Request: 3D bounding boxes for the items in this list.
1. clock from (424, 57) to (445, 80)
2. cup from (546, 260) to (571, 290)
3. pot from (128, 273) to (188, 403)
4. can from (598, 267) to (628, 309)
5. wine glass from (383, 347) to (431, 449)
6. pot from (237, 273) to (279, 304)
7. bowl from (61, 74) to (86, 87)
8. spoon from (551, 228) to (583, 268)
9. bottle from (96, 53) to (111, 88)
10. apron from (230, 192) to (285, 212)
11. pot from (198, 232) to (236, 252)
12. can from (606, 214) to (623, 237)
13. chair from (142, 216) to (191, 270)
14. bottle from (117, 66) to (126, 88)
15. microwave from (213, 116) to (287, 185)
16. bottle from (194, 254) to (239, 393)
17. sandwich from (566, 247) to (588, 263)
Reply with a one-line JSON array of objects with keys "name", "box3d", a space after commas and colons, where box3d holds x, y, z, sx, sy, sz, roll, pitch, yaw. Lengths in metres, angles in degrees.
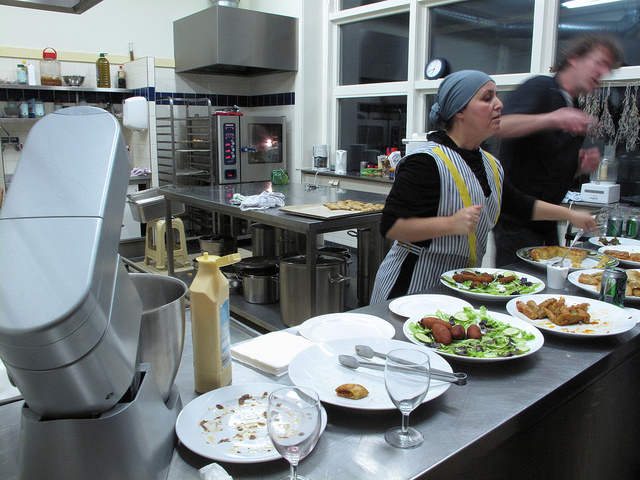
[{"name": "clock", "box3d": [1.036, -1.548, 4.066, 0.099, 0.171, 0.224, -3, 11, -8]}, {"name": "cup", "box3d": [0.839, 0.126, 1.633, 0.098, 0.095, 0.094, 1, 10, 0]}, {"name": "pot", "box3d": [-0.336, 0.187, 0.900, 0.093, 0.226, 0.175, 0, 11, -24]}, {"name": "can", "box3d": [0.930, 0.148, 1.424, 0.076, 0.125, 0.072, -8, 21, 3]}, {"name": "wine glass", "box3d": [0.165, 0.283, 0.872, 0.081, 0.171, 0.146, 1, 12, 8]}, {"name": "pot", "box3d": [-0.470, 0.361, 3.468, 0.429, 0.195, 0.273, 1, 1, -31]}, {"name": "bowl", "box3d": [-2.818, -1.814, 5.133, 0.200, 0.160, 0.186, -1, 11, 0]}, {"name": "spoon", "box3d": [1.099, 0.033, 1.995, 0.049, 0.035, 0.254, 38, 61, 21]}, {"name": "bottle", "box3d": [-2.587, -1.998, 5.322, 0.169, 0.394, 0.172, -1, 12, 0]}, {"name": "apron", "box3d": [-0.492, -0.280, 3.201, 0.429, 0.115, 0.334, 7, 13, 36]}, {"name": "pot", "box3d": [-0.907, 0.036, 4.014, 0.297, 0.116, 0.231, -3, 11, -10]}, {"name": "can", "box3d": [1.519, -0.070, 2.311, 0.067, 0.097, 0.081, 6, 13, 31]}, {"name": "chair", "box3d": [-1.585, 0.039, 4.625, 0.439, 0.475, 0.472, 2, 2, 29]}, {"name": "bottle", "box3d": [-2.453, -2.008, 5.530, 0.106, 0.262, 0.107, -1, 12, 0]}, {"name": "microwave", "box3d": [-0.911, -1.130, 5.532, 0.893, 0.753, 0.465, -10, 20, -35]}, {"name": "bottle", "box3d": [-0.231, 0.174, 1.000, 0.100, 0.309, 0.209, -4, 12, -13]}, {"name": "sandwich", "box3d": [1.026, 0.051, 1.802, 0.088, 0.042, 0.063, -12, 17, -43]}]
